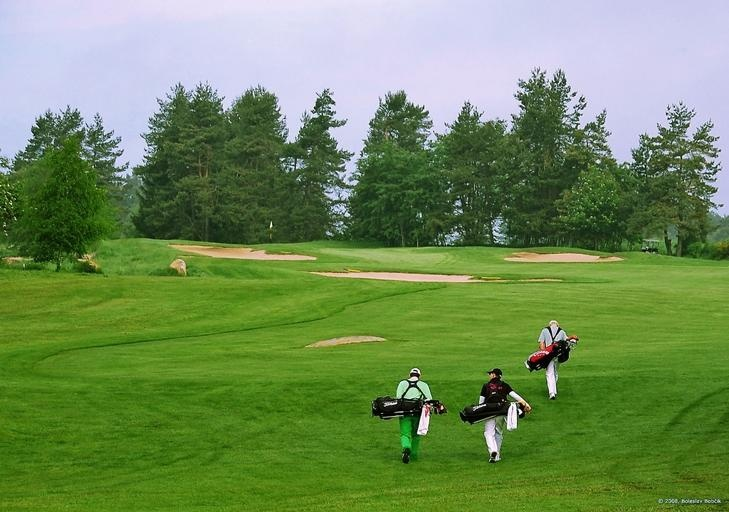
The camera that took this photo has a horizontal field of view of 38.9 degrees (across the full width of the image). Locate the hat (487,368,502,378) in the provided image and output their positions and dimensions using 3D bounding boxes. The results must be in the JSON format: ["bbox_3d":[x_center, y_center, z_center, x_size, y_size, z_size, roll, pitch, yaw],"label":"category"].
[{"bbox_3d":[5.004,4.496,39.205,0.546,0.310,0.397,21,8,14],"label":"hat"}]

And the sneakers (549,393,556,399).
[{"bbox_3d":[7.735,5.693,42.024,0.353,0.272,0.186,-5,14,-19],"label":"sneakers"}]
